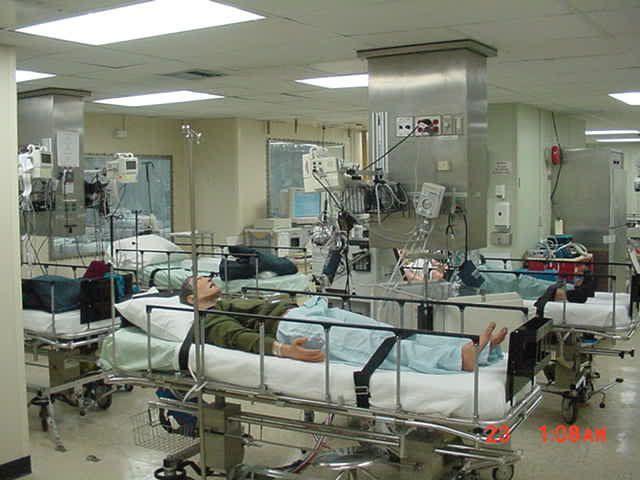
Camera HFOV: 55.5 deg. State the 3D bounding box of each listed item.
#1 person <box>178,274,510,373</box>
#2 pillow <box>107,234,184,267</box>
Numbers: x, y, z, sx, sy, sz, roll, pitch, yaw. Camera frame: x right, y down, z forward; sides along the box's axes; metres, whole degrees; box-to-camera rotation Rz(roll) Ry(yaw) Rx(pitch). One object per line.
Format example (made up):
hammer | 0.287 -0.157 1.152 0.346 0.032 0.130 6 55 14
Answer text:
person | -0.008 0.602 4.331 2.502 0.450 0.952 2 4 28
pillow | -2.428 0.160 8.395 0.684 0.240 0.753 -7 10 -40
